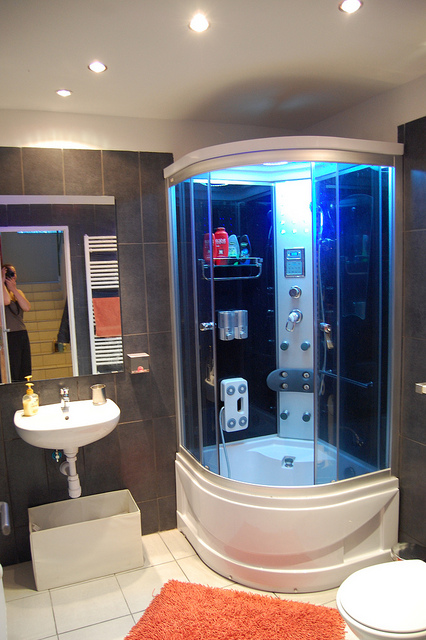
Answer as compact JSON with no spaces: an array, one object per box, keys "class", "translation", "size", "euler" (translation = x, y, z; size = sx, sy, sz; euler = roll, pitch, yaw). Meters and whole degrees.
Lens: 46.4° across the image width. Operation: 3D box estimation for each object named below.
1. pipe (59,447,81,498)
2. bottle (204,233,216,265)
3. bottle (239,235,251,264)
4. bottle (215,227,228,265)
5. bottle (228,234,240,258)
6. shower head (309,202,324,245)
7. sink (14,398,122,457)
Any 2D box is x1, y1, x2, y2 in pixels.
[{"class":"pipe","translation":[-0.762,0.795,2.632],"size":[0.099,0.329,0.308],"euler":[-5,4,-19]},{"class":"bottle","translation":[-0.017,-0.343,2.404],"size":[0.079,0.149,0.022],"euler":[0,5,45]},{"class":"bottle","translation":[0.160,-0.346,2.444],"size":[0.054,0.137,0.024],"euler":[-4,4,-5]},{"class":"bottle","translation":[0.039,-0.356,2.390],"size":[0.068,0.173,0.028],"euler":[-4,4,-3]},{"class":"bottle","translation":[0.101,-0.362,2.416],"size":[0.073,0.107,0.021],"euler":[-7,5,-41]},{"class":"shower head","translation":[0.475,-0.430,2.208],"size":[0.031,0.178,0.015],"euler":[-4,4,-5]},{"class":"sink","translation":[-0.738,0.529,2.538],"size":[0.511,0.177,0.474],"euler":[-5,4,-23]}]
